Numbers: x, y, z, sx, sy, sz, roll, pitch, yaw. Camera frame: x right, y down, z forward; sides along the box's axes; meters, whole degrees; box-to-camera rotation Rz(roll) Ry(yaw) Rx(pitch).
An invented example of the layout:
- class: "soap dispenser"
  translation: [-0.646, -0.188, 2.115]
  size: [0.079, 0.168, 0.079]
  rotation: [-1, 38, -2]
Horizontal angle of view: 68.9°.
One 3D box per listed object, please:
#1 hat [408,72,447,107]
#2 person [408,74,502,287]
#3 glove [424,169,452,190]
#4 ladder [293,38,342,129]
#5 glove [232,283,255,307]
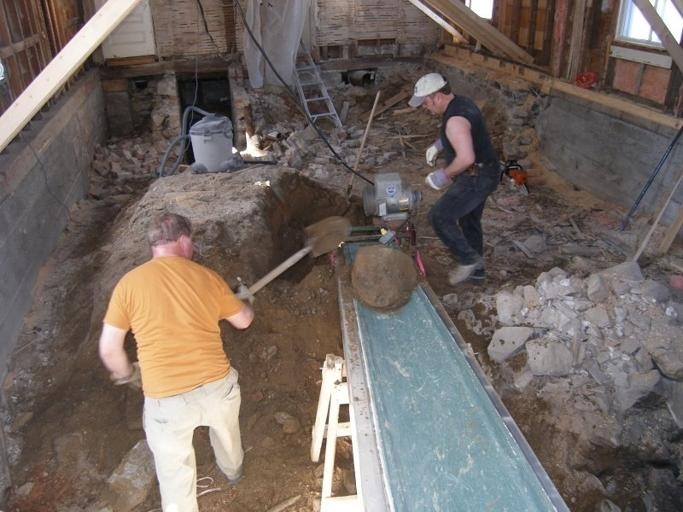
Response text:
- class: "hat"
  translation: [0.867, -1.637, 4.986]
  size: [0.416, 0.207, 0.271]
  rotation: [-37, 33, 15]
- class: "person"
  translation: [1.177, -0.739, 5.215]
  size: [0.953, 2.158, 0.733]
  rotation: [7, 29, 11]
- class: "glove"
  translation: [0.968, -0.784, 4.997]
  size: [0.210, 0.249, 0.213]
  rotation: [12, 30, 18]
- class: "ladder"
  translation: [-0.646, -3.487, 10.016]
  size: [0.448, 0.311, 2.708]
  rotation: [-13, 52, 6]
- class: "glove"
  translation: [-0.818, 0.327, 4.241]
  size: [0.123, 0.217, 0.068]
  rotation: [-15, 44, 28]
